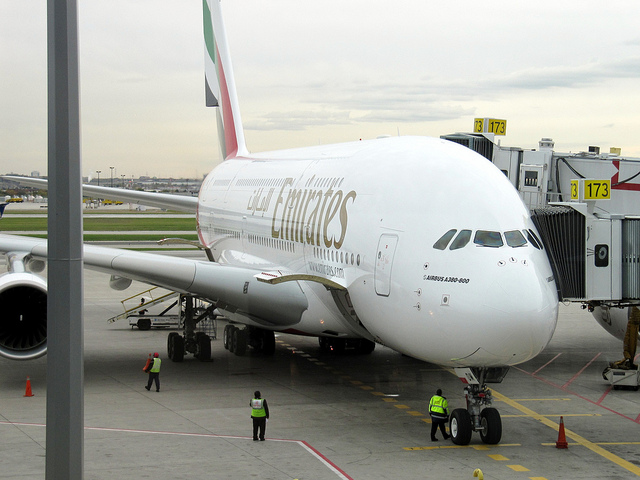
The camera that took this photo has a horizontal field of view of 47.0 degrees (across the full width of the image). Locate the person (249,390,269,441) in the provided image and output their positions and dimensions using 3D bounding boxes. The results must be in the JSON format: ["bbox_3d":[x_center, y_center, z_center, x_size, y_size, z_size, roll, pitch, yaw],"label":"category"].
[{"bbox_3d":[-1.212,3.457,14.769,0.313,1.019,0.634,-1,5,-3],"label":"person"}]

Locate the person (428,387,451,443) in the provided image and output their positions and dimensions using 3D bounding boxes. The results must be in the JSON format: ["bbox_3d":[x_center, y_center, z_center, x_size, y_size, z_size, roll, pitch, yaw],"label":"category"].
[{"bbox_3d":[2.433,3.473,14.782,0.413,1.040,0.484,0,5,6],"label":"person"}]

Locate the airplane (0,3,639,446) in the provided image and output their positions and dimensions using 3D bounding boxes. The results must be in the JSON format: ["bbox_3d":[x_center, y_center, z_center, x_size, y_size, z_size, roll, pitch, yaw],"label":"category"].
[{"bbox_3d":[-1.753,0.073,20.321,14.724,5.663,16.340,0,4,-19],"label":"airplane"}]
